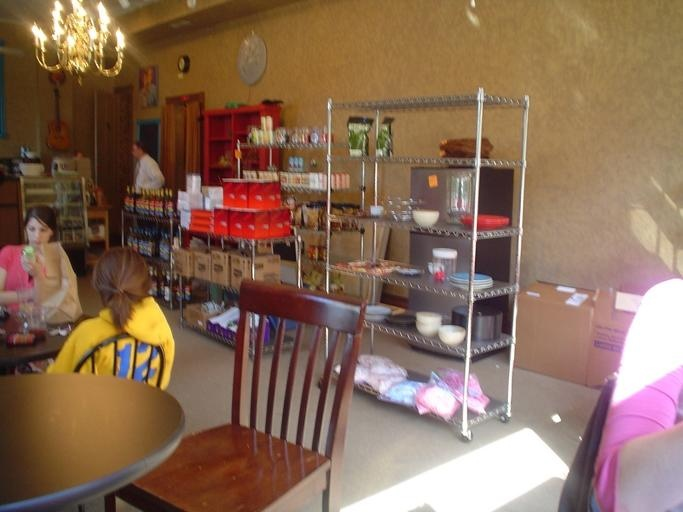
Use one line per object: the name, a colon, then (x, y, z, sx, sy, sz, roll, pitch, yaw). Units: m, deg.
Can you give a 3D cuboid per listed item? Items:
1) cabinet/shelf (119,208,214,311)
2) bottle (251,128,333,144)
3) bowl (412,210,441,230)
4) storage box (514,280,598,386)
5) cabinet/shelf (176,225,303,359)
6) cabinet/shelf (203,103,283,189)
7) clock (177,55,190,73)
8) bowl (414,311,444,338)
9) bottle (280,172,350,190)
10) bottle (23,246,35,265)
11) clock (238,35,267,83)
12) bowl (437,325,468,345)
cabinet/shelf: (-1.611, 0.030, 5.153, 0.335, 0.944, 0.887, -10, 18, -40)
bottle: (-0.552, -1.230, 5.486, 0.438, 0.170, 1.325, -9, 17, -35)
bowl: (0.574, -0.268, 3.749, 0.135, 0.099, 0.148, 1, 5, 0)
storage box: (1.688, 0.600, 4.407, 0.586, 0.708, 0.649, 4, 3, -21)
cabinet/shelf: (-0.861, 0.280, 4.402, 0.363, 0.882, 0.950, -7, 14, -42)
cabinet/shelf: (-1.219, -1.418, 6.757, 1.336, 1.641, 0.372, 4, 4, 45)
clock: (-2.508, -3.084, 8.602, 0.095, 0.306, 0.265, -3, 9, -44)
bowl: (0.626, 0.479, 3.903, 0.151, 0.133, 0.159, 2, 8, 0)
bottle: (-0.225, -0.756, 5.405, 0.404, 0.142, 0.315, 5, 7, 36)
bottle: (-1.761, -0.013, 3.042, 0.051, 0.082, 0.105, -9, 16, -39)
clock: (-1.203, -2.709, 7.378, 0.096, 0.755, 0.571, -7, 12, -39)
bowl: (0.765, 0.531, 3.744, 0.181, 0.090, 0.280, 4, 14, 15)
